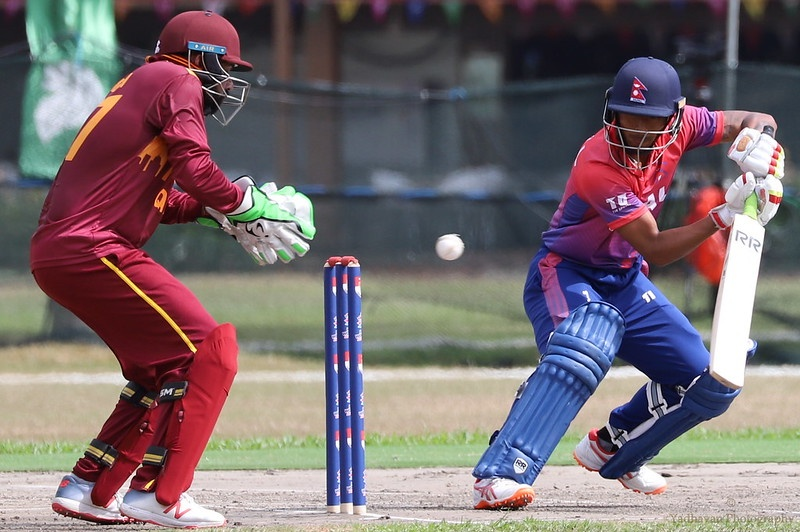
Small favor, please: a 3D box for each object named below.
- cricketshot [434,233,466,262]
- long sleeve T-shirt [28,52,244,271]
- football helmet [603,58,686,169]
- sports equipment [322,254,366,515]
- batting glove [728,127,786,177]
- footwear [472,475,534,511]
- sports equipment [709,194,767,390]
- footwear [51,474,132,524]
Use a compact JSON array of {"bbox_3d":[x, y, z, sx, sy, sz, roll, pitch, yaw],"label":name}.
[{"bbox_3d":[0.333,-0.135,10.770,0.212,0.187,0.110,0,-1,-5],"label":"cricketshot"},{"bbox_3d":[-1.381,-0.650,10.141,1.495,1.434,1.353,7,1,27],"label":"long sleeve T-shirt"},{"bbox_3d":[1.547,-0.979,10.132,0.492,0.700,0.242,-1,12,-8],"label":"football helmet"},{"bbox_3d":[-0.341,0.752,9.989,0.242,1.609,0.414,0,12,-2],"label":"sports equipment"},{"bbox_3d":[2.278,-0.732,10.223,0.348,0.314,0.331,3,11,11],"label":"batting glove"},{"bbox_3d":[0.639,1.454,10.022,0.412,0.182,0.166,-6,-6,25],"label":"footwear"},{"bbox_3d":[2.108,0.166,10.005,0.270,1.237,0.512,3,12,13],"label":"sports equipment"},{"bbox_3d":[-1.945,1.480,10.037,0.602,0.252,0.223,17,-8,-17],"label":"footwear"}]
